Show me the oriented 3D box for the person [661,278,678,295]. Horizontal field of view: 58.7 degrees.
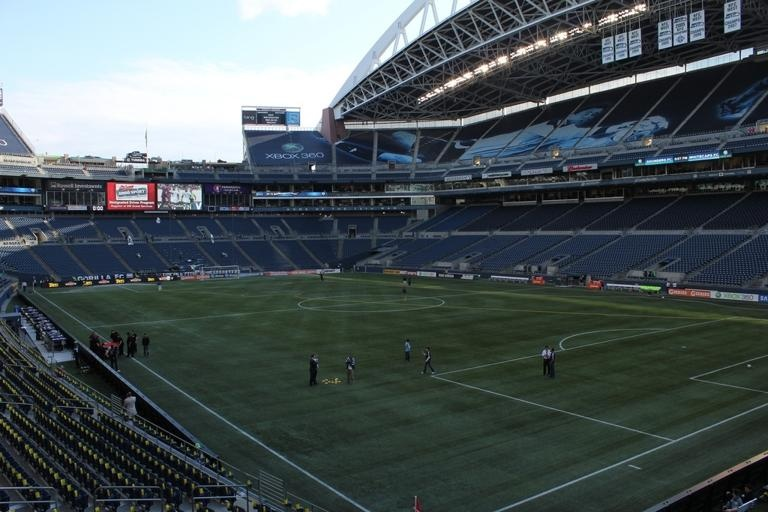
[{"bbox_3d":[30.607,3.398,72.815,0.659,1.368,1.379,19,-3,-28],"label":"person"}]
